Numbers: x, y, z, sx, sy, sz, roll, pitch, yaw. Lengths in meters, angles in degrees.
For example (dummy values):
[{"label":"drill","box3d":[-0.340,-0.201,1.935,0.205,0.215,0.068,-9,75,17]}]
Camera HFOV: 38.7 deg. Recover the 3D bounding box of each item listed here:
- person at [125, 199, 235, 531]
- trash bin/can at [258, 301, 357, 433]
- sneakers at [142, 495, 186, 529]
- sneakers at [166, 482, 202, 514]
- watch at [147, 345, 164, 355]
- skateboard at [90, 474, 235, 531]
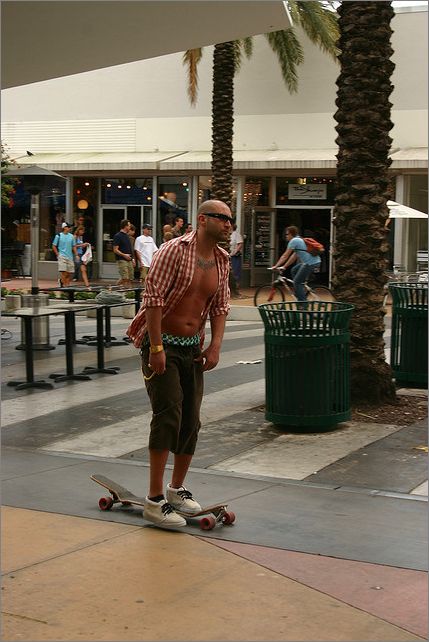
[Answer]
[{"label":"person","box3d":[-0.174,0.218,3.337,0.571,1.389,0.387,0,0,-14]},{"label":"trash bin/can","box3d":[0.968,0.458,5.739,0.978,1.003,0.916,2,-2,-19]},{"label":"sneakers","box3d":[-0.270,1.009,3.221,0.297,0.117,0.098,3,3,32]},{"label":"sneakers","box3d":[-0.185,0.999,3.386,0.089,0.092,0.259,-1,-1,-38]},{"label":"watch","box3d":[-0.307,0.153,3.135,0.053,0.033,0.061,-1,0,2]},{"label":"skateboard","box3d":[-0.412,1.006,3.447,1.092,0.165,0.271,4,6,32]}]
